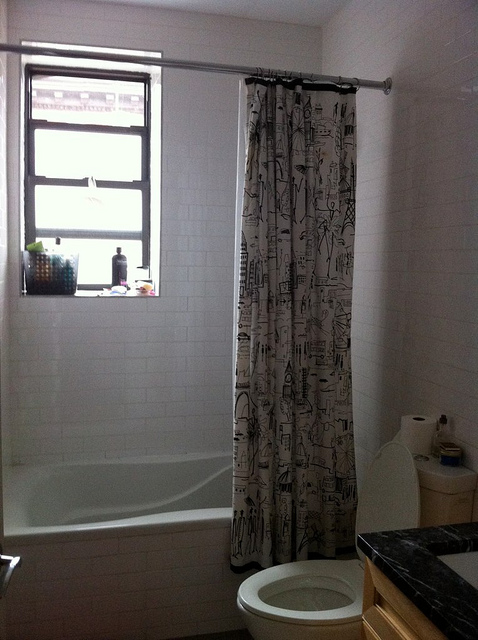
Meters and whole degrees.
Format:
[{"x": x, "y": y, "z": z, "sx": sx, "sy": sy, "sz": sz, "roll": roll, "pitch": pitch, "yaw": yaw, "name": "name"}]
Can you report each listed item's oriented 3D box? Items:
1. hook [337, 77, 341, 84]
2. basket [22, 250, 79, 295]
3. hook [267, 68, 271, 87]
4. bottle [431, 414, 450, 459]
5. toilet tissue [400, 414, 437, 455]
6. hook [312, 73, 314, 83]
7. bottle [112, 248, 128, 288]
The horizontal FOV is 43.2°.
[{"x": 0.391, "y": -0.937, "z": 2.350, "sx": 0.005, "sy": 0.021, "sz": 0.025, "roll": 18, "pitch": 51, "yaw": 24, "name": "hook"}, {"x": -0.844, "y": -0.208, "z": 2.901, "sx": 0.289, "sy": 0.251, "sz": 0.173, "roll": -3, "pitch": -5, "yaw": 18, "name": "basket"}, {"x": 0.116, "y": -0.917, "z": 2.284, "sx": 0.015, "sy": 0.060, "sz": 0.029, "roll": 0, "pitch": 4, "yaw": -2, "name": "hook"}, {"x": 0.699, "y": 0.404, "z": 2.096, "sx": 0.059, "sy": 0.144, "sz": 0.076, "roll": -1, "pitch": 4, "yaw": -17, "name": "bottle"}, {"x": 0.644, "y": 0.412, "z": 2.157, "sx": 0.110, "sy": 0.120, "sz": 0.114, "roll": 0, "pitch": 6, "yaw": 3, "name": "toilet tissue"}, {"x": 0.287, "y": -0.931, "z": 2.324, "sx": 0.004, "sy": 0.031, "sz": 0.005, "roll": -11, "pitch": 18, "yaw": -31, "name": "hook"}, {"x": -0.589, "y": -0.265, "z": 3.002, "sx": 0.075, "sy": 0.194, "sz": 0.142, "roll": -1, "pitch": 4, "yaw": -11, "name": "bottle"}]
